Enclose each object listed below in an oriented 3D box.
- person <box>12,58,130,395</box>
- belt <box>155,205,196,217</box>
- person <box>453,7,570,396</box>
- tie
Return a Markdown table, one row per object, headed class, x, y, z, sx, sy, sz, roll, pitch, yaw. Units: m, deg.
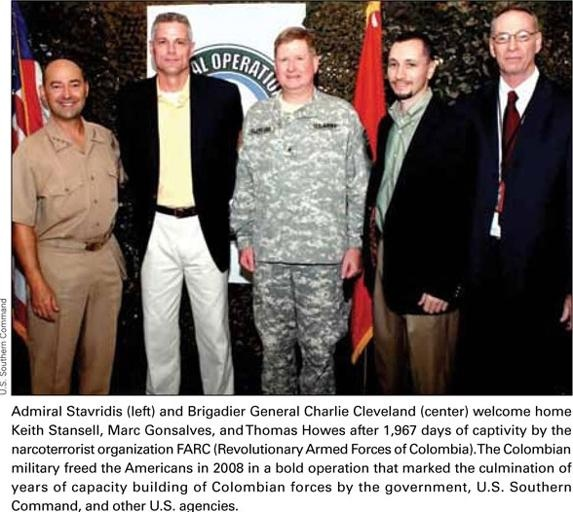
| class | x | y | z | sx | sy | sz | roll | pitch | yaw |
| --- | --- | --- | --- | --- | --- | --- | --- | --- | --- |
| person | -1.280 | -0.132 | 2.947 | 0.594 | 1.983 | 0.286 | -1 | 4 | -19 |
| belt | -0.652 | -0.261 | 2.928 | 0.250 | 0.068 | 0.047 | 2 | 4 | 14 |
| person | 1.269 | -0.238 | 2.739 | 0.649 | 2.145 | 0.451 | 1 | 4 | 17 |
| tie | 1.172 | -0.578 | 2.623 | 0.097 | 0.726 | 0.048 | -1 | -14 | 28 |
